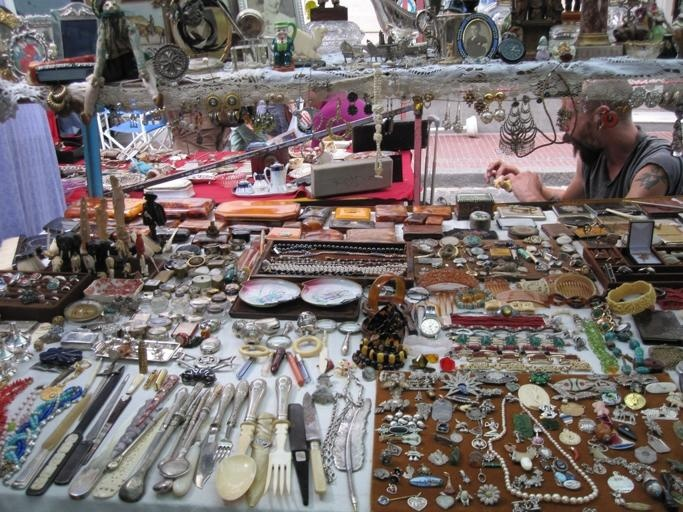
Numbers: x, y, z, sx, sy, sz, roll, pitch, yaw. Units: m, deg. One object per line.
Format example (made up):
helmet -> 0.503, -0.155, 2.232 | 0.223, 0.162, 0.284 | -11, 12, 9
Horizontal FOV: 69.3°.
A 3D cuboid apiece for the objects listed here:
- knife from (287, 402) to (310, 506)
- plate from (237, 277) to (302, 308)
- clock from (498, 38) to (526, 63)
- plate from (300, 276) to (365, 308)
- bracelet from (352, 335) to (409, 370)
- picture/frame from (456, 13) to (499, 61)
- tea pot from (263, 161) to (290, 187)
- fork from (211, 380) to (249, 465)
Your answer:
knife -> -0.165, 0.749, 1.912 | 0.084, 0.298, 0.315 | 7, -9, -9
plate -> -0.383, 0.199, 2.683 | 0.335, 0.176, 0.180 | 5, -9, -3
clock -> 1.074, -1.272, 3.100 | 0.173, 0.157, 0.117 | 5, -9, 1
plate -> -0.050, 0.195, 2.665 | 0.330, 0.176, 0.164 | 5, -9, -4
bracelet -> 0.188, 0.452, 2.319 | 0.249, 0.155, 0.140 | 4, -9, 6
picture/frame -> 0.850, -1.345, 3.072 | 0.321, 0.285, 0.023 | -12, 23, -20
tea pot -> -0.585, -0.714, 4.580 | 0.235, 0.234, 0.288 | 8, -9, -18
fork -> -0.447, 0.669, 2.008 | 0.052, 0.031, 0.271 | -7, 28, 14
